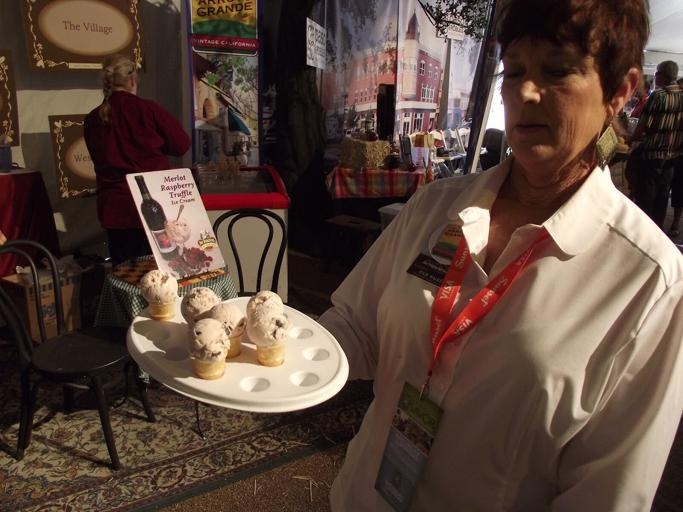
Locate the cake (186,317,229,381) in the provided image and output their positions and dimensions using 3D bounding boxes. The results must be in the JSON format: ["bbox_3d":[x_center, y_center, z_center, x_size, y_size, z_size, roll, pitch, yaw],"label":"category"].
[{"bbox_3d":[-0.314,0.212,1.106,0.106,0.148,0.116,-1,-1,-26],"label":"cake"}]

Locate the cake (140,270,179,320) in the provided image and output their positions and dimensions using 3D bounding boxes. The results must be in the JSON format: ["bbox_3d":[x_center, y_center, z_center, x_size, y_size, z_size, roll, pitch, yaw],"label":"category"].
[{"bbox_3d":[-0.555,0.115,1.430,0.100,0.101,0.200,-8,22,-23],"label":"cake"}]

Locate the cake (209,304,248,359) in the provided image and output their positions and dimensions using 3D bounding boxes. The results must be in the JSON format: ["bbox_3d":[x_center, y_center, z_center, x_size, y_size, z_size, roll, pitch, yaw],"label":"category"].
[{"bbox_3d":[-0.284,0.174,1.210,0.111,0.153,0.115,-3,17,-14],"label":"cake"}]

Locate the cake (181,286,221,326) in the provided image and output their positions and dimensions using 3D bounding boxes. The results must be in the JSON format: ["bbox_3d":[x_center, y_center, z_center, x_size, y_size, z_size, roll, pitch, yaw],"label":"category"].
[{"bbox_3d":[-0.393,0.148,1.329,0.102,0.105,0.089,-10,41,-18],"label":"cake"}]
